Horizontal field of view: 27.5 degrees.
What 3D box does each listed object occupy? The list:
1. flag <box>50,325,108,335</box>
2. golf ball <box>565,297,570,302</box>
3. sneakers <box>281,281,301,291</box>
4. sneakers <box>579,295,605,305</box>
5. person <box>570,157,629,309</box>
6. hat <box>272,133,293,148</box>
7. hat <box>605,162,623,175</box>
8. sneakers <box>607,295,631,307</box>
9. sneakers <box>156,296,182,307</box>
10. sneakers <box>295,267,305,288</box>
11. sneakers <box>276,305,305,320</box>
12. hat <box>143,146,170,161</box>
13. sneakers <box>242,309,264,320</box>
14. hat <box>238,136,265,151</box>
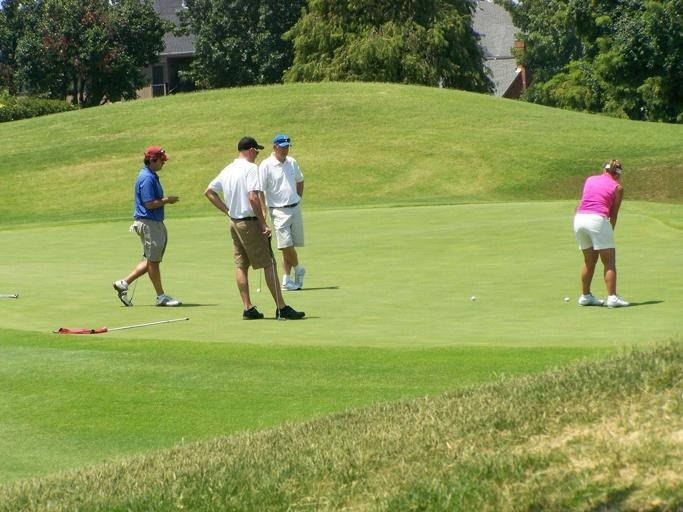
[{"bbox_3d":[-4.927,1.442,26.360,1.019,0.165,0.510,-6,6,-11],"label":"flag"},{"bbox_3d":[4.547,0.910,28.066,0.099,0.081,0.083,-20,-2,-8],"label":"golf ball"},{"bbox_3d":[-1.062,0.668,29.374,0.371,0.170,0.168,0,3,2],"label":"sneakers"},{"bbox_3d":[4.974,0.911,27.772,0.504,0.242,0.245,-4,6,7],"label":"sneakers"},{"bbox_3d":[5.165,-0.417,27.850,1.012,2.875,1.103,-4,6,10],"label":"person"},{"bbox_3d":[-1.290,-2.349,29.174,0.397,0.301,0.527,-4,4,-23],"label":"hat"},{"bbox_3d":[5.469,-1.732,27.904,0.244,0.281,0.327,0,5,-13],"label":"hat"},{"bbox_3d":[5.436,0.921,27.535,0.510,0.225,0.183,-1,10,-16],"label":"sneakers"},{"bbox_3d":[-3.510,0.954,28.178,0.496,0.204,0.210,1,2,6],"label":"sneakers"},{"bbox_3d":[-0.881,0.495,29.452,0.210,0.464,0.161,2,-3,-15],"label":"sneakers"},{"bbox_3d":[-0.984,1.156,27.146,0.588,0.263,0.229,0,3,1],"label":"sneakers"},{"bbox_3d":[-3.715,-2.053,28.594,0.660,0.346,0.444,-3,13,-24],"label":"hat"},{"bbox_3d":[-1.742,1.154,27.285,0.420,0.252,0.283,-5,6,-7],"label":"sneakers"},{"bbox_3d":[-1.753,-2.146,27.577,0.516,0.273,0.362,-10,15,-27],"label":"hat"}]
